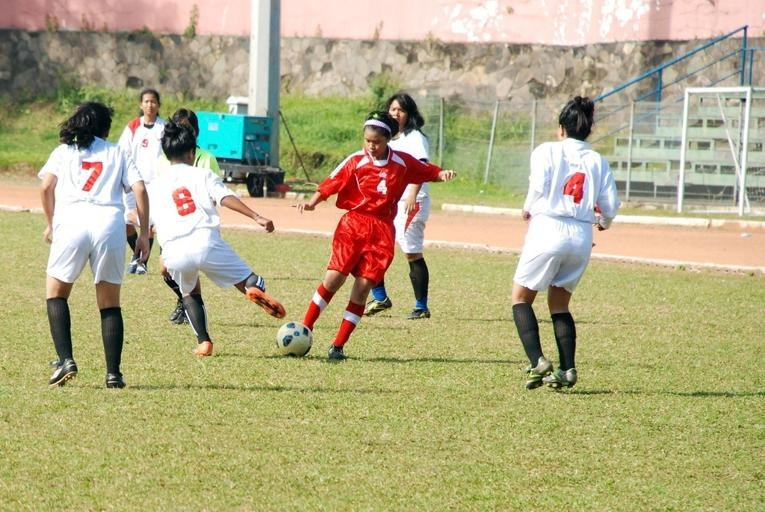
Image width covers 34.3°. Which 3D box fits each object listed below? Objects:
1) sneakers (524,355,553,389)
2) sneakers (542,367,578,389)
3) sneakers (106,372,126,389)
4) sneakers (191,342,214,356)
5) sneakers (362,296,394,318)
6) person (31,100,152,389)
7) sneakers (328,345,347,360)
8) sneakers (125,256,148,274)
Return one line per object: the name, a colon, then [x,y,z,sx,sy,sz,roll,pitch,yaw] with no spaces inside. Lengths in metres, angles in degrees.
sneakers: [1.781,1.356,14.329,0.219,0.239,0.461,5,-39,-28]
sneakers: [2.094,1.413,14.350,0.476,0.227,0.172,0,-19,13]
sneakers: [-3.066,1.435,14.211,0.220,0.167,0.152,1,7,-15]
sneakers: [-2.159,1.129,14.909,0.234,0.153,0.129,6,4,26]
sneakers: [-0.075,0.696,16.663,0.470,0.220,0.168,-24,13,-2]
person: [-3.331,-0.136,14.276,1.199,3.232,0.794,1,7,-15]
sneakers: [-0.531,1.190,14.981,0.129,0.108,0.238,4,-5,-23]
sneakers: [-3.410,0.141,17.137,0.225,0.292,0.131,-6,-2,19]
